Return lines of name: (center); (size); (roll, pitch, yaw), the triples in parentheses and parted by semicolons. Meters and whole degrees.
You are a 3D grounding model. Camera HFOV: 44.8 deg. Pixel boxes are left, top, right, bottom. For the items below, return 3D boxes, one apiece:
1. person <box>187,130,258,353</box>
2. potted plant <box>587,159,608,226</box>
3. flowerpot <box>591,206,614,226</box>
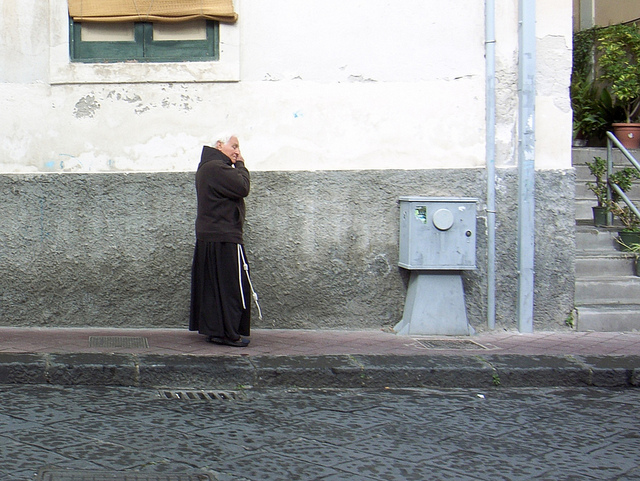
person: (-1.010, -0.001, 8.135); (0.726, 2.212, 0.741); (2, 13, 2)
potted plant: (3.866, -0.681, 10.658); (0.328, 0.858, 0.763); (6, 13, 16)
flowerpot: (3.881, -0.345, 10.542); (0.299, 0.185, 0.256); (0, 0, 4)
